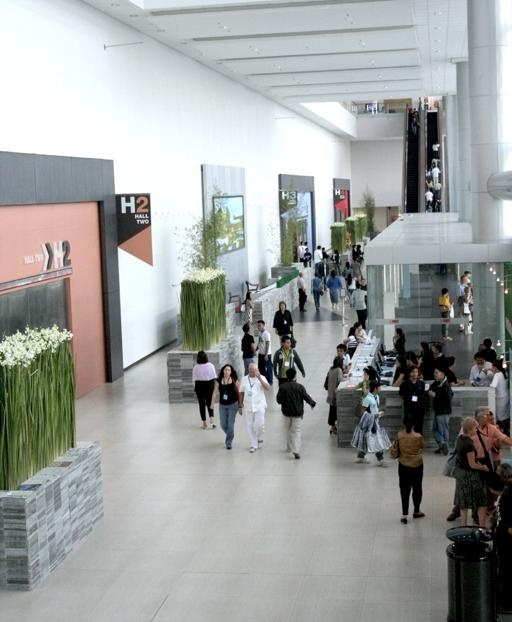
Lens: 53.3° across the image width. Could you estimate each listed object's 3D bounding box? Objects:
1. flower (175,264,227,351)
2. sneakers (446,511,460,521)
[{"bbox_3d":[-1.175,-0.053,11.057,0.722,2.231,1.901,1,7,12],"label":"flower"},{"bbox_3d":[1.863,1.922,4.804,0.116,0.100,0.075,-2,-2,10],"label":"sneakers"}]
